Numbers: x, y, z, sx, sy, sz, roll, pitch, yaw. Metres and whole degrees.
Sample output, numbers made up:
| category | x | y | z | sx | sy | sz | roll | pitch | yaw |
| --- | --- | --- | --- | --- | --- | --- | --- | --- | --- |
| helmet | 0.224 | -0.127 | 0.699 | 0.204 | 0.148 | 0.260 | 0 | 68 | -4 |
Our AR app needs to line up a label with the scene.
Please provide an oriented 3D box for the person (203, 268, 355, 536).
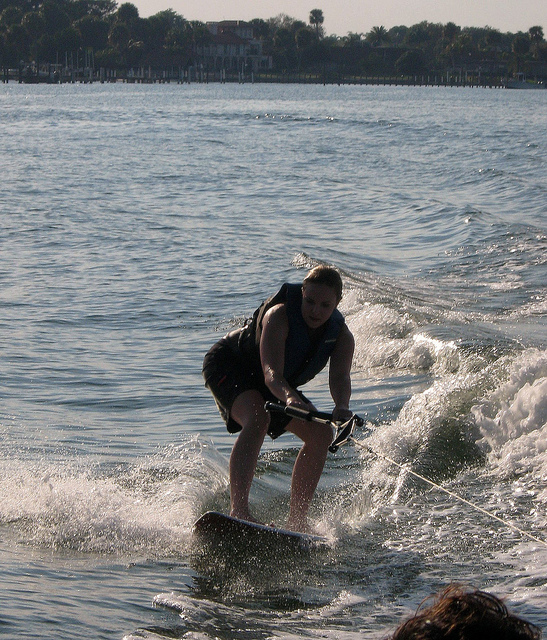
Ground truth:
| category | x | y | z | sx | sy | sz | roll | pitch | yaw |
| --- | --- | --- | --- | --- | --- | --- | --- | --- | --- |
| person | 0.031 | 0.472 | 9.025 | 0.894 | 1.607 | 0.658 | 3 | 11 | 7 |

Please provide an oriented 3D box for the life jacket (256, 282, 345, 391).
| category | x | y | z | sx | sy | sz | roll | pitch | yaw |
| --- | --- | --- | --- | --- | --- | --- | --- | --- | --- |
| life jacket | 0.175 | 0.084 | 8.967 | 0.439 | 0.578 | 0.186 | 2 | 11 | 0 |

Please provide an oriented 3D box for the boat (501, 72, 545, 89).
| category | x | y | z | sx | sy | sz | roll | pitch | yaw |
| --- | --- | --- | --- | --- | --- | --- | --- | --- | --- |
| boat | 22.416 | -21.186 | 139.391 | 3.242 | 1.138 | 10.593 | 3 | 13 | 5 |

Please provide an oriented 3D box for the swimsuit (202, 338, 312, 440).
| category | x | y | z | sx | sy | sz | roll | pitch | yaw |
| --- | --- | --- | --- | --- | --- | --- | --- | --- | --- |
| swimsuit | -0.179 | 0.443 | 9.267 | 0.604 | 0.469 | 0.230 | 50 | -1 | -11 |
